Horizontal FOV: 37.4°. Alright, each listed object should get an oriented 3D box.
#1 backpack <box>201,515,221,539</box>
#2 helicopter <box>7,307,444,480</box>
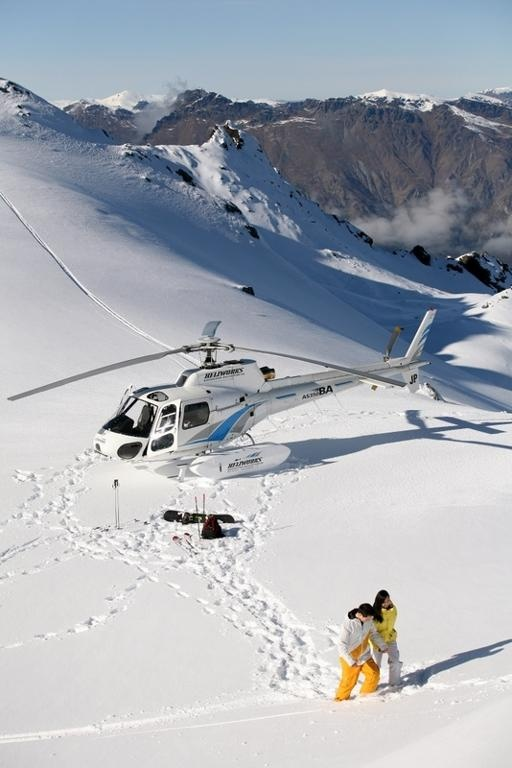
[{"bbox_3d":[-0.862,2.879,15.038,0.317,0.434,0.467,0,-6,1],"label":"backpack"},{"bbox_3d":[-0.255,0.485,18.744,7.000,2.196,5.499,-9,16,-33],"label":"helicopter"}]
